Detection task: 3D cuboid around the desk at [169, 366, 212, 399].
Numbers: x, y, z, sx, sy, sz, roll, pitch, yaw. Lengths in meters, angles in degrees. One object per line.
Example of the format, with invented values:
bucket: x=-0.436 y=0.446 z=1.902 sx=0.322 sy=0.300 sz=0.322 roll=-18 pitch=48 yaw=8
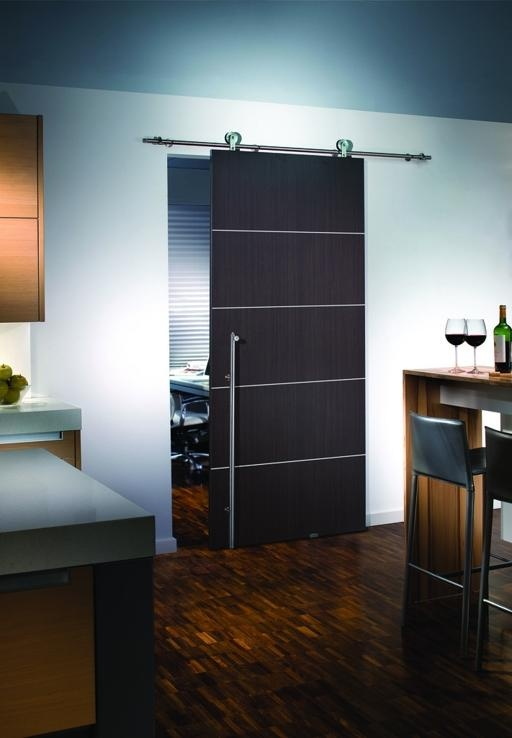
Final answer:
desk: x=-0.649 y=0.142 z=5.786 sx=0.359 sy=0.306 sz=1.419 roll=-1 pitch=0 yaw=-7
